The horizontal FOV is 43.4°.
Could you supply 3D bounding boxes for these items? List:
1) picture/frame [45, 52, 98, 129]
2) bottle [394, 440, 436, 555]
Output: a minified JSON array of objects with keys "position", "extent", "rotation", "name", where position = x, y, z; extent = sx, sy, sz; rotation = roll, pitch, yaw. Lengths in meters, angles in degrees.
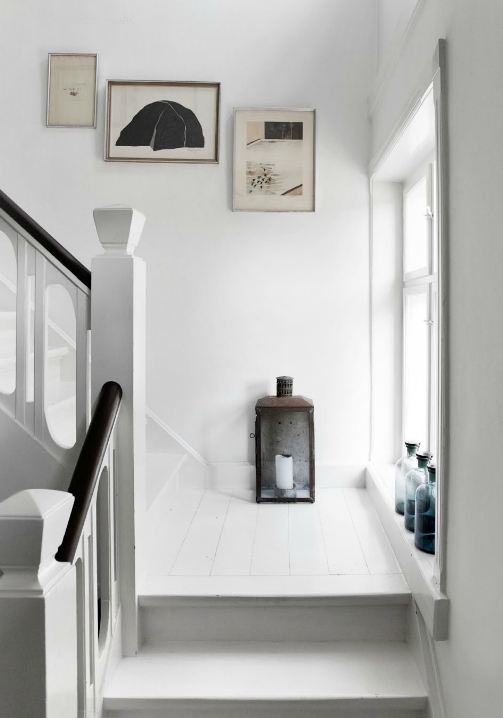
[{"position":[-0.876,-1.328,3.075],"extent":[0.273,0.483,0.019],"rotation":[1,5,1],"name":"picture/frame"},{"position":[0.563,0.501,2.193],"extent":[0.103,0.324,0.350],"rotation":[0,0,0],"name":"bottle"}]
